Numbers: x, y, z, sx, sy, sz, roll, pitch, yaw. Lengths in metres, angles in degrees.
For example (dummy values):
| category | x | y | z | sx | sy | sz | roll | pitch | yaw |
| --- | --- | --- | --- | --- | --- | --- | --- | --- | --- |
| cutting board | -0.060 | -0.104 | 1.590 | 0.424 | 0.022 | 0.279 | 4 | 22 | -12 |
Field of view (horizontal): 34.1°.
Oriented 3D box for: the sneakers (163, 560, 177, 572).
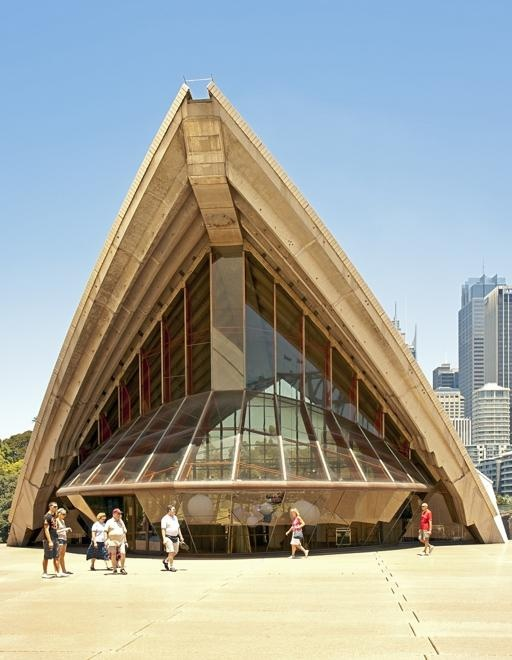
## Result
| category | x | y | z | sx | sy | sz | roll | pitch | yaw |
| --- | --- | --- | --- | --- | --- | --- | --- | --- | --- |
| sneakers | -1.872 | 5.141 | 18.245 | 0.172 | 0.214 | 0.512 | 7 | -9 | -25 |

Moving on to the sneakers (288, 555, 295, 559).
| category | x | y | z | sx | sy | sz | roll | pitch | yaw |
| --- | --- | --- | --- | --- | --- | --- | --- | --- | --- |
| sneakers | 0.888 | 5.896 | 21.750 | 0.270 | 0.107 | 0.091 | -1 | -13 | 24 |

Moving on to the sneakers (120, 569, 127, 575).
| category | x | y | z | sx | sy | sz | roll | pitch | yaw |
| --- | --- | --- | --- | --- | --- | --- | --- | --- | --- |
| sneakers | -2.809 | 5.156 | 17.822 | 0.082 | 0.095 | 0.242 | 1 | -5 | 12 |

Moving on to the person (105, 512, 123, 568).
| category | x | y | z | sx | sy | sz | roll | pitch | yaw |
| --- | --- | --- | --- | --- | --- | --- | --- | --- | --- |
| person | -3.052 | 4.626 | 18.172 | 0.397 | 1.536 | 0.959 | -2 | 8 | -10 |
